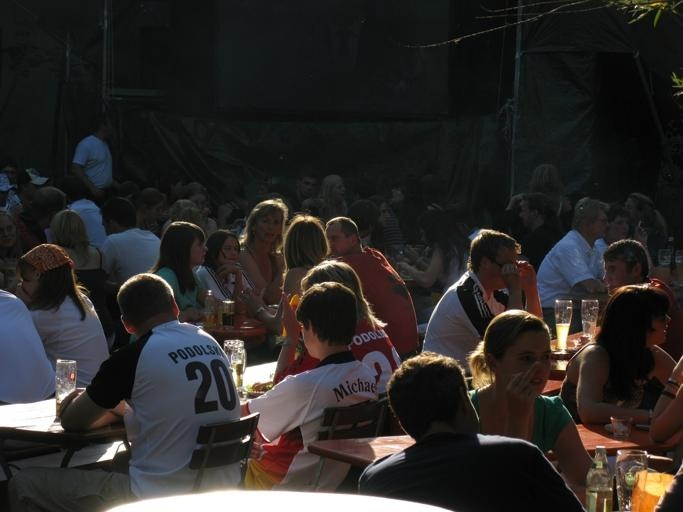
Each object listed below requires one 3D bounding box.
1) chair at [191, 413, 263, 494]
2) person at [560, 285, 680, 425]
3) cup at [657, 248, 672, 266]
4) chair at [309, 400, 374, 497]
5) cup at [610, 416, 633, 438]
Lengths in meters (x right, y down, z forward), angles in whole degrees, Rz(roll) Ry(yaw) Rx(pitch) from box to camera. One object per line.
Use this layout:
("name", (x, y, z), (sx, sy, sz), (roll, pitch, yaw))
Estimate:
("chair", (-0.666, 1.034, 4.813), (0.361, 0.553, 0.360), (-3, 20, -32))
("person", (1.730, 0.583, 5.596), (0.739, 1.084, 0.790), (1, 2, -43))
("cup", (3.808, 0.033, 10.020), (0.161, 0.300, 0.187), (0, -6, 18))
("chair", (0.035, 1.054, 5.102), (0.370, 0.709, 0.472), (3, 29, 2))
("cup", (1.617, 1.002, 4.900), (0.100, 0.099, 0.102), (0, -2, 0))
